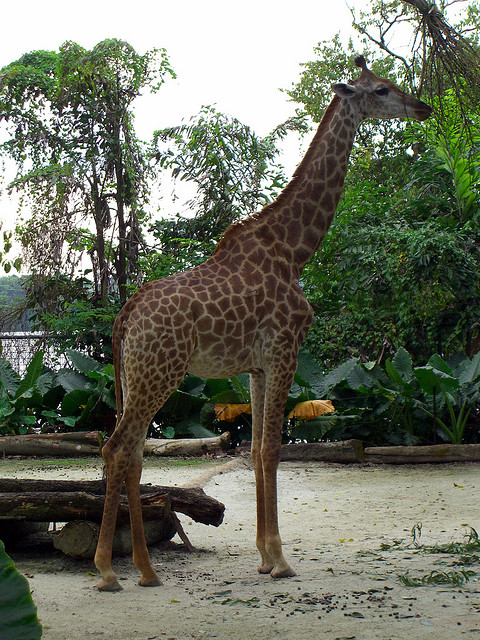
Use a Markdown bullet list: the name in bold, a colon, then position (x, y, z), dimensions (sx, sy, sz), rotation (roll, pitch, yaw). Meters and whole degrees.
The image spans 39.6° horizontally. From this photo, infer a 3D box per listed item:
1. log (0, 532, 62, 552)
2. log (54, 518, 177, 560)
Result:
- **log**: position (-1.505, 1.554, 4.761), dimensions (0.379, 0.087, 0.540), rotation (0, -5, -16)
- **log**: position (-0.798, 1.420, 4.478), dimensions (0.368, 0.181, 0.701), rotation (-5, -7, 37)
